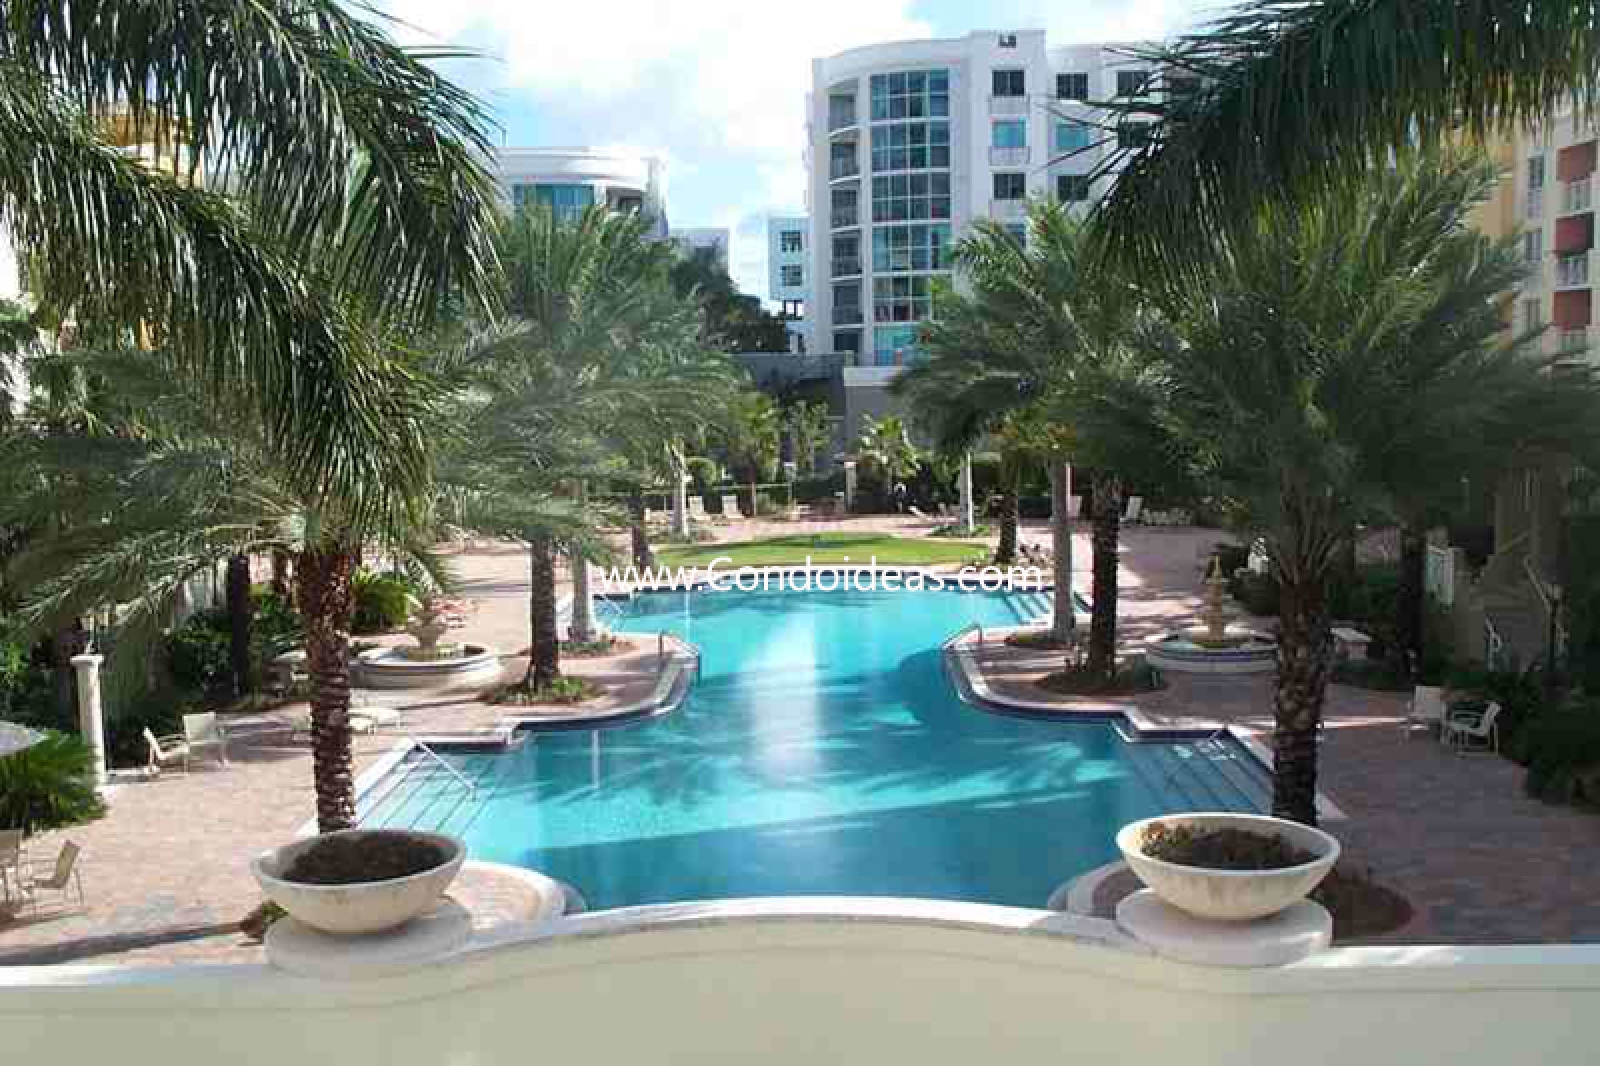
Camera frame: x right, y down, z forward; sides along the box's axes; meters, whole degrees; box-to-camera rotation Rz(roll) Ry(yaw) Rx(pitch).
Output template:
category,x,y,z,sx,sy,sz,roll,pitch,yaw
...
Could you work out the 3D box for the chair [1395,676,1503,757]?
category,x,y,z,sx,sy,sz,roll,pitch,yaw
chair,8.529,2.381,17.086,0.885,0.595,0.884,6,5,17
